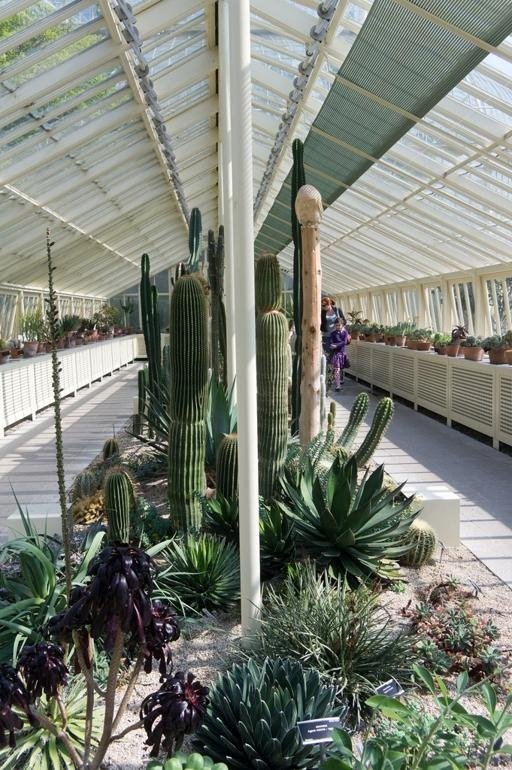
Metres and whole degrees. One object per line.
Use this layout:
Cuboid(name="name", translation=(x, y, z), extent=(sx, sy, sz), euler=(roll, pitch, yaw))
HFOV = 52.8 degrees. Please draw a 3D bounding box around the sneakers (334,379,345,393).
Cuboid(name="sneakers", translation=(1.896, 0.051, 11.809), extent=(0.115, 0.287, 0.379), euler=(3, 21, 5))
